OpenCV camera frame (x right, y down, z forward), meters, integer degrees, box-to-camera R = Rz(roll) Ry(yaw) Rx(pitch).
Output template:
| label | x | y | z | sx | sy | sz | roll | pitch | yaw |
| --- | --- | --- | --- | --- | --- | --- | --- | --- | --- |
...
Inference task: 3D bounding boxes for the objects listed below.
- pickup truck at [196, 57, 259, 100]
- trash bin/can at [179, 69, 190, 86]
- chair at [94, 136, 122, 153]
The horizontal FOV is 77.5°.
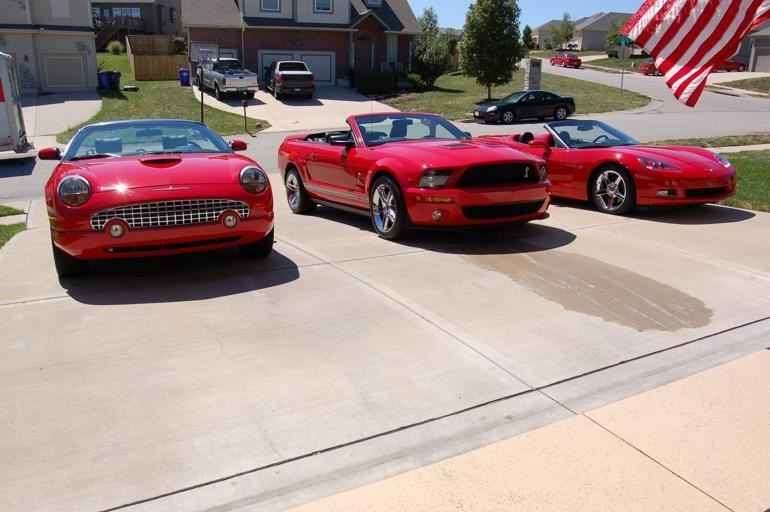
| label | x | y | z | sx | sy | sz | roll | pitch | yaw |
| --- | --- | --- | --- | --- | --- | --- | --- | --- | --- |
| pickup truck | -10.892 | -12.427 | 32.882 | 2.718 | 2.731 | 4.973 | -13 | 25 | -28 |
| trash bin/can | -15.431 | -14.075 | 37.053 | 0.711 | 1.223 | 0.872 | -5 | 24 | -9 |
| chair | -3.671 | -1.512 | 6.381 | 0.326 | 0.175 | 0.463 | -11 | 23 | -25 |
